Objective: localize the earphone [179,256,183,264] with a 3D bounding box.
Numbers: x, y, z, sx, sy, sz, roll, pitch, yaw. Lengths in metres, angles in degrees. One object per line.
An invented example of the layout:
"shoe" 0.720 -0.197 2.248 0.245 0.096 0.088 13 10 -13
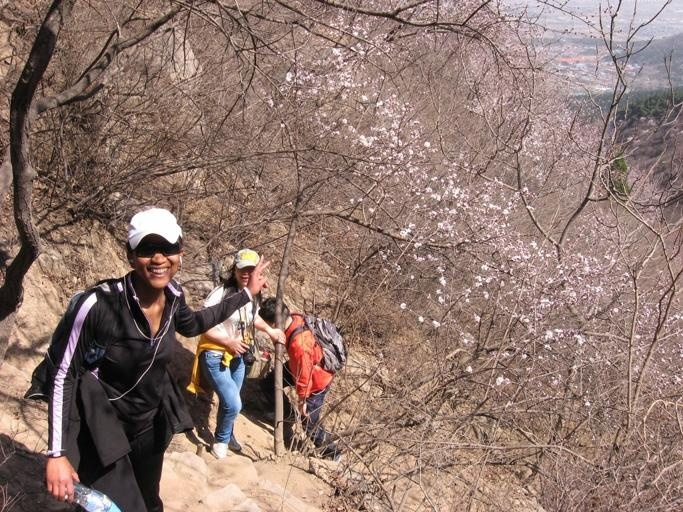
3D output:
"earphone" -1.625 0.046 6.402 0.048 0.097 0.090 -2 -5 -10

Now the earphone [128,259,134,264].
"earphone" -1.553 0.044 4.679 0.033 0.041 0.042 -13 -23 36

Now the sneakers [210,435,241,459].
"sneakers" -1.184 1.986 6.487 0.134 0.178 0.388 35 -30 -23

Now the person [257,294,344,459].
"person" -0.555 1.407 7.110 1.115 2.063 0.711 10 19 22

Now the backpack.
"backpack" -0.274 0.907 6.872 0.600 0.691 0.494 -8 28 -8
